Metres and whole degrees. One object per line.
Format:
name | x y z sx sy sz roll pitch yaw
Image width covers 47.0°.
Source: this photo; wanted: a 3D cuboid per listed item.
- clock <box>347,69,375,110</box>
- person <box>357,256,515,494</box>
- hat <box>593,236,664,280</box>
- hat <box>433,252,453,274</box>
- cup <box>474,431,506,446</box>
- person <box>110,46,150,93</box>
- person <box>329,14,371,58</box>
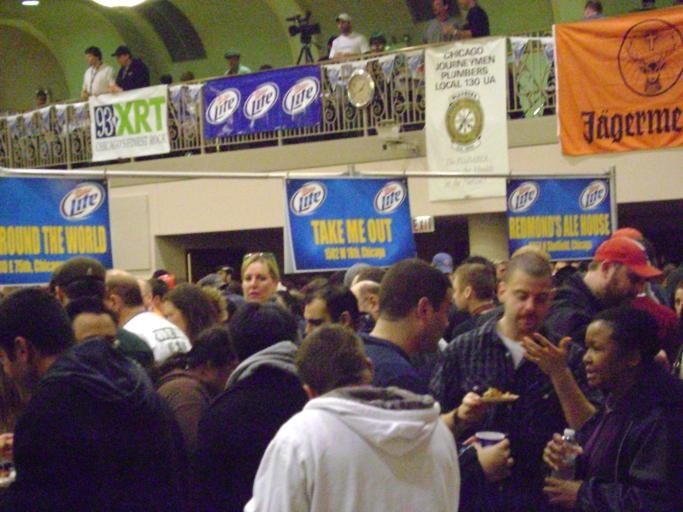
clock | 0.327 -2.919 13.505 0.603 0.668 0.150 -5 2 13
person | 0.572 0.780 5.157 1.065 1.540 0.959 -10 10 -19
hat | 2.195 0.016 6.105 0.548 0.297 0.354 6 -11 19
hat | 1.222 0.082 9.454 0.230 0.186 0.352 3 24 -19
cup | 0.925 1.132 4.858 0.156 0.089 0.191 -3 -1 -37
person | -3.994 -3.518 14.692 0.652 0.935 1.179 -3 -1 -16
person | 0.115 -3.962 14.275 0.716 0.886 1.115 -3 0 -1
